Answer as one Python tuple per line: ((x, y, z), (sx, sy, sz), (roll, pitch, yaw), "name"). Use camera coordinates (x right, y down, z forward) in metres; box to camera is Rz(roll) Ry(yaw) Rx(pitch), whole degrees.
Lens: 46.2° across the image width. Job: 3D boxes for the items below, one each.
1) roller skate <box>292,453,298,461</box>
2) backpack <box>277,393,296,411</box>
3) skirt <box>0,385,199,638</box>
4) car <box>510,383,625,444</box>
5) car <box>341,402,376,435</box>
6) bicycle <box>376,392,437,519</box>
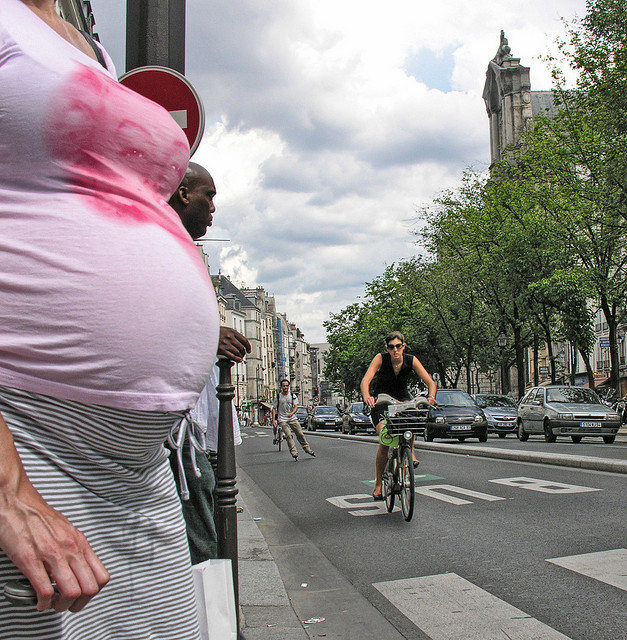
((-0.400, 3.163, 16.917), (0.078, 0.156, 0.064), (10, 36, 23), "roller skate")
((-0.709, 2.101, 19.120), (0.304, 0.464, 0.436), (2, 4, 6), "backpack")
((-0.383, 0.394, 1.406), (0.183, 0.533, 0.483), (-1, -5, 17), "skirt")
((6.952, 2.590, 20.414), (1.648, 1.189, 2.726), (1, -11, -10), "car")
((2.604, 5.367, 39.991), (1.775, 1.647, 3.866), (1, -11, -11), "car")
((0.907, 1.380, 7.490), (0.517, 1.265, 1.135), (1, -5, -3), "bicycle")
